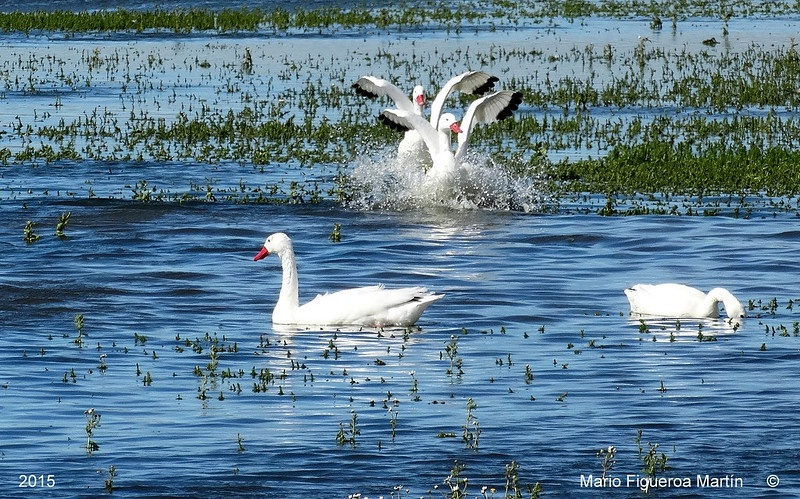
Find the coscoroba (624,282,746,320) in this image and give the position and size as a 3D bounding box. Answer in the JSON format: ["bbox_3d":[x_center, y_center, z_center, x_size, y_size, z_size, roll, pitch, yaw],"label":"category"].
[{"bbox_3d":[5.159,0.951,28.872,1.832,0.690,0.766,10,26,12],"label":"coscoroba"}]
